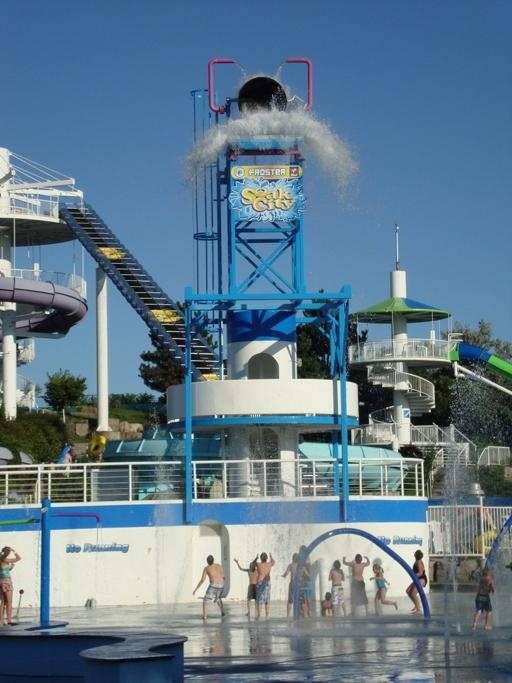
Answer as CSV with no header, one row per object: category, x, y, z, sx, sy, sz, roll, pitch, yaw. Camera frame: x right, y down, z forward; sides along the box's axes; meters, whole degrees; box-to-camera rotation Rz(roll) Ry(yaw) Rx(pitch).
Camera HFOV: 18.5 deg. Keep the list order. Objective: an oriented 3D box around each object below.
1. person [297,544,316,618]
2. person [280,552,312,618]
person,0.847,4.600,29.956,0.423,1.393,0.392,-4,3,-40
person,0.811,4.513,29.648,0.516,1.161,0.353,-3,32,12
